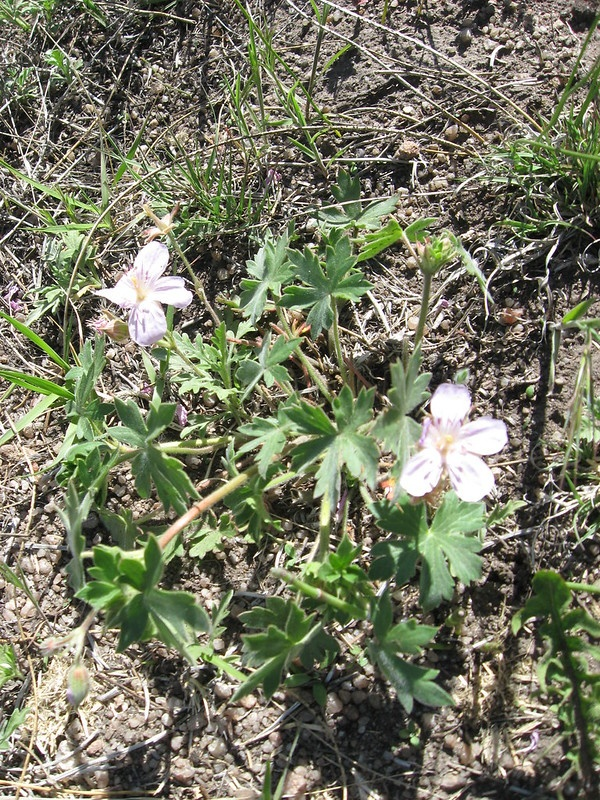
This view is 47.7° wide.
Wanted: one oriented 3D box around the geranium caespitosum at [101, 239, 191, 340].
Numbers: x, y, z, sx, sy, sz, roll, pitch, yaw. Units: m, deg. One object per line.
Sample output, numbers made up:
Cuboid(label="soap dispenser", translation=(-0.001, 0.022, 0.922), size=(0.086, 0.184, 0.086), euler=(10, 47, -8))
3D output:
Cuboid(label="geranium caespitosum", translation=(-0.448, -0.319, 2.003), size=(0.265, 0.308, 0.118), euler=(6, 6, 10))

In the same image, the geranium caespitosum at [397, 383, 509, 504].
Cuboid(label="geranium caespitosum", translation=(0.355, 0.091, 1.757), size=(0.323, 0.289, 0.115), euler=(-18, 8, -22))
